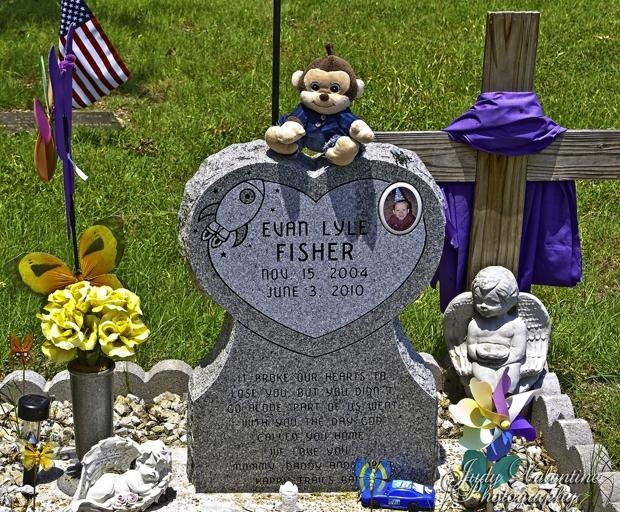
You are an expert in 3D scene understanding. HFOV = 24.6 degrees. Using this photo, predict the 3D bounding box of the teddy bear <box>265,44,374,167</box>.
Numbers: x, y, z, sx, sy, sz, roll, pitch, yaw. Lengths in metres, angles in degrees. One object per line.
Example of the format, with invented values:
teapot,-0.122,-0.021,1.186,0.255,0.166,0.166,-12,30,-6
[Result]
teddy bear,0.075,-1.118,10.601,0.770,0.878,0.357,-1,13,2

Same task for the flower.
flower,-1.631,0.475,10.789,0.621,0.503,0.658,-4,24,-24
